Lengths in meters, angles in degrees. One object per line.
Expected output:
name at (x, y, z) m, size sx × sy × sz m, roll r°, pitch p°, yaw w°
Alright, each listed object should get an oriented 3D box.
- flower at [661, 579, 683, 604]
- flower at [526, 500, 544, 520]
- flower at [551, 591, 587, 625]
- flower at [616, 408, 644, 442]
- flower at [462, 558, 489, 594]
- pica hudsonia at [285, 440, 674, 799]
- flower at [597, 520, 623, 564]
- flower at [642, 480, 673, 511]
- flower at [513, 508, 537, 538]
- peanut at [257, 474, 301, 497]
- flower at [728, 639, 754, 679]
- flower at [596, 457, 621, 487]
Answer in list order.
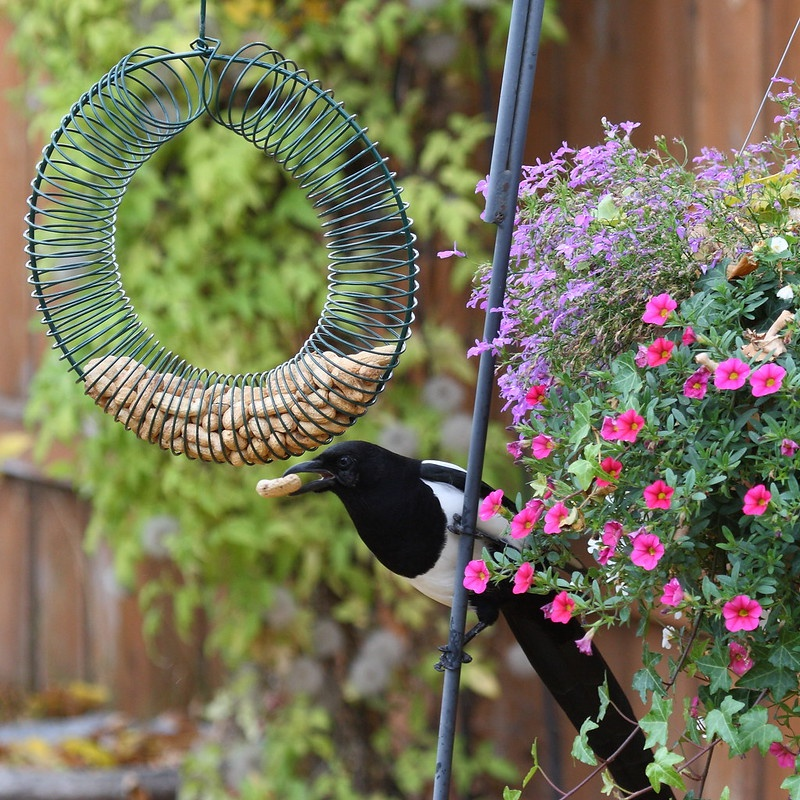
flower at (0.445, 0.319, 3.335) m, size 0.019 × 0.038 × 0.039 m, roll 10°, pitch -111°, yaw -2°
flower at (0.225, 0.185, 3.411) m, size 0.018 × 0.027 × 0.033 m, roll -4°, pitch -99°, yaw -13°
flower at (0.273, 0.352, 3.407) m, size 0.050 × 0.019 × 0.049 m, roll 5°, pitch -102°, yaw 20°
flower at (0.373, 0.041, 3.303) m, size 0.044 × 0.023 × 0.050 m, roll 5°, pitch -96°, yaw 13°
flower at (0.139, 0.302, 3.450) m, size 0.020 × 0.052 × 0.052 m, roll 19°, pitch -81°, yaw -59°
pica hudsonia at (0.150, 0.440, 4.093) m, size 1.106 × 0.292 × 0.403 m, roll 33°, pitch -118°, yaw -15°
flower at (0.348, 0.236, 3.363) m, size 0.017 × 0.039 × 0.061 m, roll -9°, pitch -55°, yaw -36°
flower at (0.418, 0.160, 3.291) m, size 0.040 × 0.037 × 0.051 m, roll 18°, pitch -69°, yaw -20°
flower at (0.209, 0.207, 3.386) m, size 0.014 × 0.041 × 0.046 m, roll 20°, pitch -95°, yaw -64°
peanut at (-0.212, 0.149, 3.570) m, size 0.073 × 0.026 × 0.038 m, roll -3°, pitch -53°, yaw 0°
flower at (0.560, 0.436, 3.340) m, size 0.034 × 0.047 × 0.070 m, roll -8°, pitch -62°, yaw -8°
flower at (0.345, 0.116, 3.327) m, size 0.044 × 0.024 × 0.050 m, roll -28°, pitch -41°, yaw 15°
